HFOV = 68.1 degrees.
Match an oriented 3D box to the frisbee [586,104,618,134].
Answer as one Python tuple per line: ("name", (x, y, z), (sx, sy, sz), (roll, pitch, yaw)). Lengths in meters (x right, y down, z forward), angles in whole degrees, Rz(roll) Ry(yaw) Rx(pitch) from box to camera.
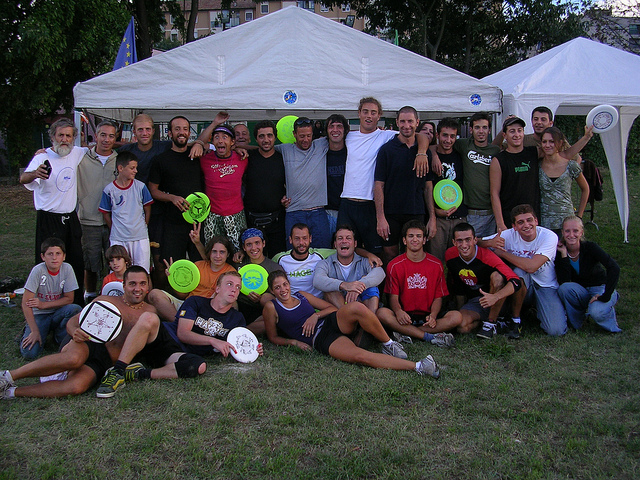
("frisbee", (3.990, -1.723, 6.707), (0.553, 0.441, 0.351), (-2, 6, -44))

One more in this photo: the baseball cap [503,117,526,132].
("baseball cap", (2.707, -1.641, 6.640), (0.253, 0.191, 0.375), (3, 5, 6))

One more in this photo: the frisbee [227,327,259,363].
("frisbee", (-0.867, 1.189, 5.345), (0.347, 0.331, 0.242), (1, 4, -13))

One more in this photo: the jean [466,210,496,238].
("jean", (2.308, -0.208, 6.819), (0.460, 0.435, 0.292), (-2, 1, 6))

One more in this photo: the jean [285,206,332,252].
("jean", (-0.194, -0.197, 6.775), (0.744, 0.827, 0.480), (-1, 2, -3))

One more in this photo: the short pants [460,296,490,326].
("short pants", (2.019, 0.945, 6.156), (0.345, 0.362, 0.282), (4, 5, 21))

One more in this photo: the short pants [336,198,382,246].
("short pants", (0.535, -0.240, 6.284), (0.507, 0.566, 0.252), (1, 10, 10))

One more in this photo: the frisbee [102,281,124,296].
("frisbee", (-2.464, 0.577, 5.633), (0.214, 0.134, 0.233), (0, 5, -31))

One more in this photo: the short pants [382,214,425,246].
("short pants", (1.110, -0.129, 6.373), (0.515, 0.450, 0.159), (3, 4, 11))

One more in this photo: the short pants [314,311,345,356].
("short pants", (0.099, 1.067, 5.497), (0.335, 0.505, 0.183), (5, 6, 37))

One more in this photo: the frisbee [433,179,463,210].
("frisbee", (1.760, -0.622, 6.549), (0.417, 0.407, 0.085), (1, 4, -10))

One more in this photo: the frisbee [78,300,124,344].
("frisbee", (-2.267, 0.845, 4.841), (0.124, 0.489, 0.449), (-2, -16, 37))

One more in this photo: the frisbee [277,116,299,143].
("frisbee", (-0.487, -1.713, 7.453), (0.228, 0.406, 0.379), (12, -11, 23))

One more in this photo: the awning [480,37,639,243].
("awning", (4.427, -1.873, 9.111), (2.903, 3.254, 3.179), (-1, 15, 2))
